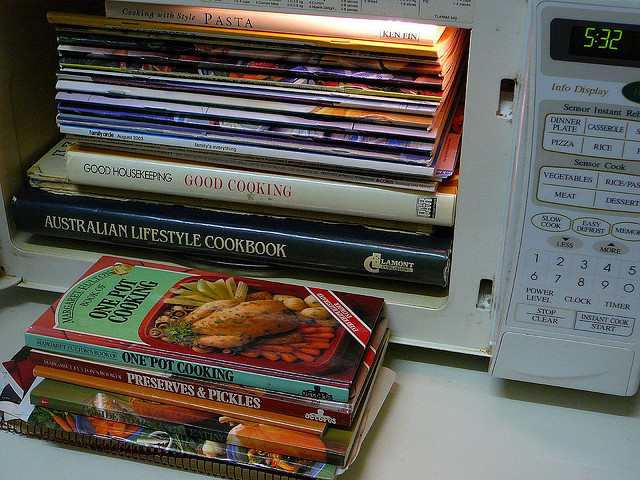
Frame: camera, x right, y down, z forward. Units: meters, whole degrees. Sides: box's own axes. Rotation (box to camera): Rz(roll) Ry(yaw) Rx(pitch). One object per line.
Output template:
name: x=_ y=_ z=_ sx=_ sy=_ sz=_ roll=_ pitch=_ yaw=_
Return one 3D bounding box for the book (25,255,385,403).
book: x=-0.135 y=0.098 z=0.684 sx=0.351 sy=0.029 sz=0.172 roll=8 pitch=28 yaw=12

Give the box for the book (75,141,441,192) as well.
book: x=-0.081 y=-0.095 z=0.748 sx=0.473 sy=0.028 sz=0.064 roll=-1 pitch=71 yaw=0

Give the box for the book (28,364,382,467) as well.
book: x=-0.115 y=0.235 z=0.709 sx=0.383 sy=0.371 sz=0.034 roll=3 pitch=58 yaw=-4

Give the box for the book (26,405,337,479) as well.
book: x=-0.138 y=0.222 z=0.629 sx=0.325 sy=0.030 sz=0.023 roll=10 pitch=68 yaw=5
